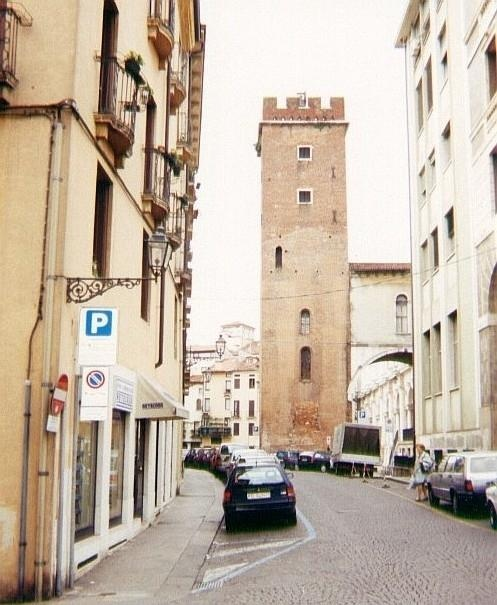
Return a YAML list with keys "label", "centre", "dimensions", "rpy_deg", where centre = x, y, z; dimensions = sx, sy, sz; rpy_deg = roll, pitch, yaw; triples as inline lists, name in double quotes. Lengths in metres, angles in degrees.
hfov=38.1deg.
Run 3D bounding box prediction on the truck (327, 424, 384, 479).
- label: "truck"
  centre: [6.110, 8.603, 41.444]
  dimensions: [1.632, 2.945, 3.693]
  rpy_deg: [5, -16, 0]
